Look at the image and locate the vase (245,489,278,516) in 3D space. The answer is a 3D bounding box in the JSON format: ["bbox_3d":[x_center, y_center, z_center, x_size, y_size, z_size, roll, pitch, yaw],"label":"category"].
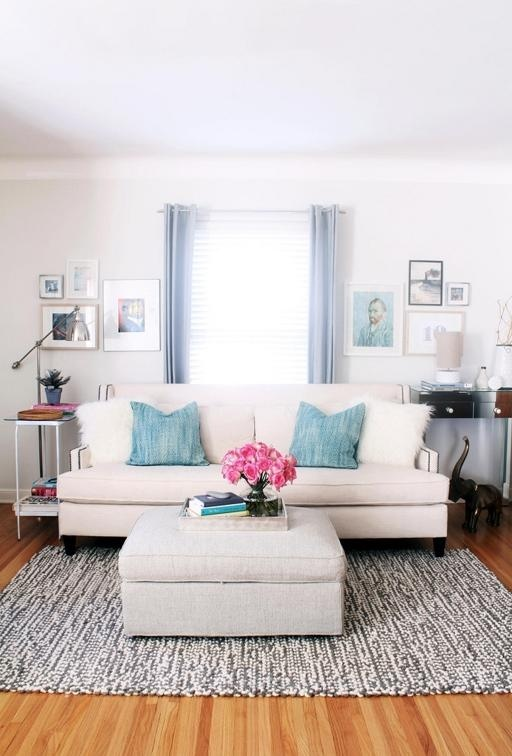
[{"bbox_3d":[0.028,0.501,2.418,0.096,0.094,0.098,0,-8,-1],"label":"vase"}]

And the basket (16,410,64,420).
[{"bbox_3d":[-1.325,0.228,3.732,0.265,0.056,0.214,0,3,-8],"label":"basket"}]

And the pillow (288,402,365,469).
[{"bbox_3d":[0.397,0.335,3.469,0.431,0.396,0.251,2,-6,19],"label":"pillow"}]

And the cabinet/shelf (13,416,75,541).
[{"bbox_3d":[-1.319,0.613,3.760,0.304,0.631,0.649,1,3,-6],"label":"cabinet/shelf"}]

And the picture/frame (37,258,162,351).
[{"bbox_3d":[-1.120,-0.548,4.230,0.641,0.572,0.029,0,1,-4],"label":"picture/frame"}]

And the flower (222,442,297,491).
[{"bbox_3d":[0.019,0.383,2.432,0.205,0.166,0.198,17,-20,-9],"label":"flower"}]

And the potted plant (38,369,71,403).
[{"bbox_3d":[-1.359,0.052,4.025,0.224,0.264,0.240,1,-1,-3],"label":"potted plant"}]

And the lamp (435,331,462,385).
[{"bbox_3d":[1.311,-0.139,4.113,0.154,0.363,0.134,1,3,12],"label":"lamp"}]
